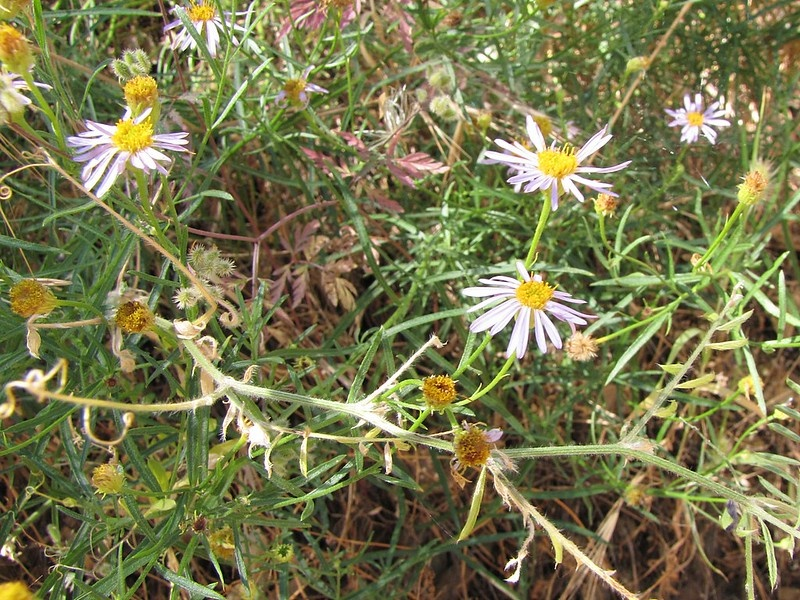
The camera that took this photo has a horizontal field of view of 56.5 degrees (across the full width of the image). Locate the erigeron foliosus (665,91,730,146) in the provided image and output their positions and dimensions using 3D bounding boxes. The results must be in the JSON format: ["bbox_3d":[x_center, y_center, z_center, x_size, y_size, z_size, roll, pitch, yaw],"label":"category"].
[{"bbox_3d":[1.220,-0.745,3.021,0.242,0.064,0.257,20,-2,-28],"label":"erigeron foliosus"}]

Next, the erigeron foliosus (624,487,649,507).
[{"bbox_3d":[1.028,0.843,3.197,0.077,0.063,0.079,28,53,26],"label":"erigeron foliosus"}]

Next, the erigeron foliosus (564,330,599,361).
[{"bbox_3d":[0.686,0.164,2.787,0.125,0.079,0.130,12,36,-10],"label":"erigeron foliosus"}]

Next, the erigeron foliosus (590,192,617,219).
[{"bbox_3d":[0.772,-0.341,2.747,0.117,0.065,0.111,-8,24,-25],"label":"erigeron foliosus"}]
